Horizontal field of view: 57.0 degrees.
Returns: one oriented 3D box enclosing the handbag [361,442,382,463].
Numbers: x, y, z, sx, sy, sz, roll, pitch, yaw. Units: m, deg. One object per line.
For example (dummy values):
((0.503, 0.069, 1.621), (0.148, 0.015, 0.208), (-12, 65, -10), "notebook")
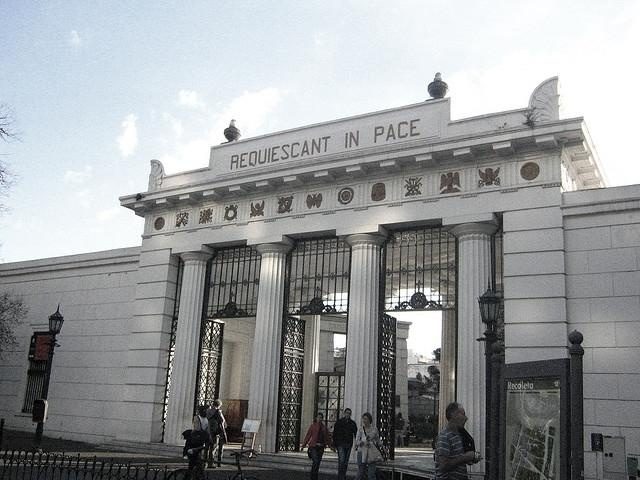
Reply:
((1.297, 5.481, 15.198), (0.501, 0.501, 0.273), (2, -11, 17), "handbag")
